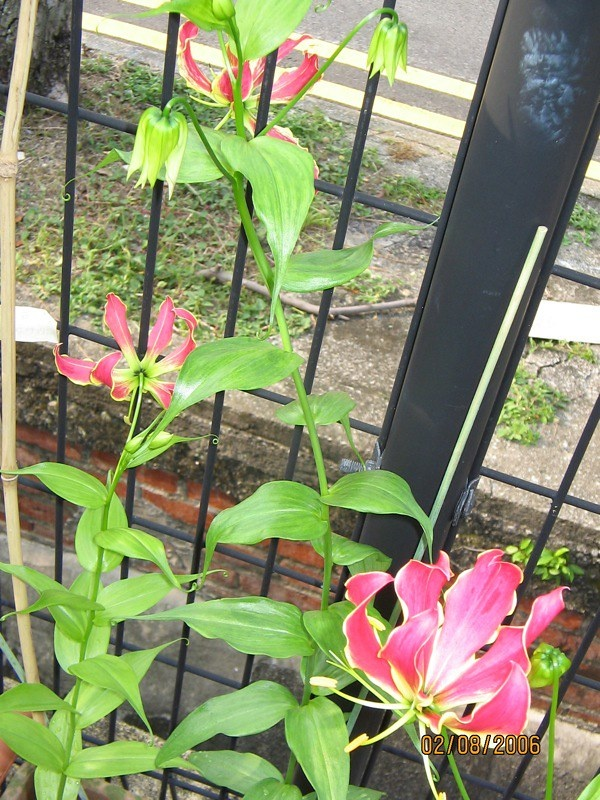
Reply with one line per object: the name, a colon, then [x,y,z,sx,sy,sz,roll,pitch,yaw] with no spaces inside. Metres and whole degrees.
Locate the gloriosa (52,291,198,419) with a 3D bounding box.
gloriosa: [-0.196,-0.050,0.902,0.162,0.089,0.150,-23,-14,24]
